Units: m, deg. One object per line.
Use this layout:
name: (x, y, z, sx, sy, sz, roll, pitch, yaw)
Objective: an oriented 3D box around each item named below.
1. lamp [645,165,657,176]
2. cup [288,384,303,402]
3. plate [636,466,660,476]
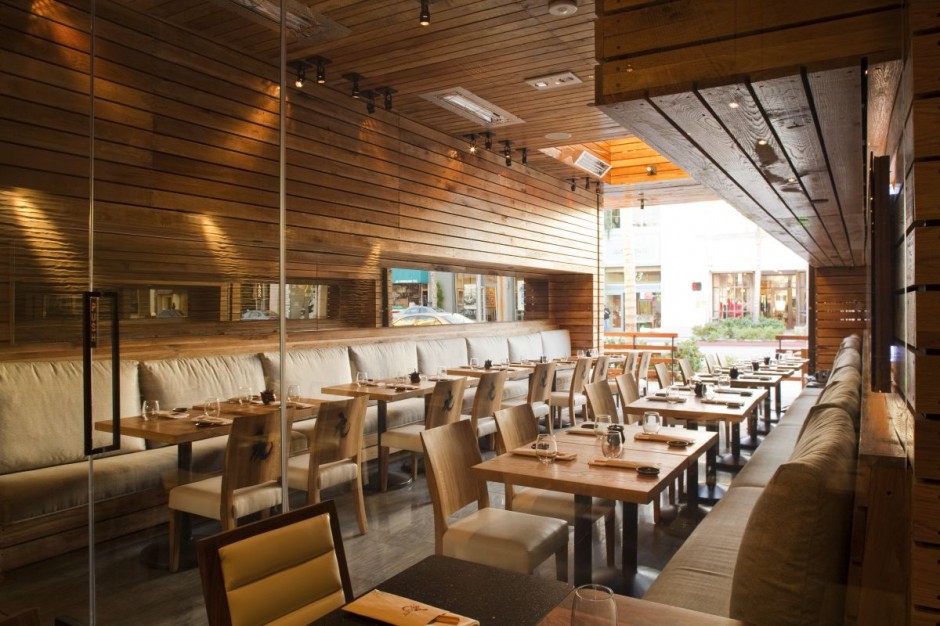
lamp: (2.874, -2.277, 9.837, 0.203, 0.140, 0.162, 1, -7, 4)
cup: (-1.143, 0.525, 4.054, 0.106, 0.078, 0.097, -1, -4, 0)
plate: (0.996, 0.883, 3.460, 0.124, 0.044, 0.136, -3, 0, 15)
